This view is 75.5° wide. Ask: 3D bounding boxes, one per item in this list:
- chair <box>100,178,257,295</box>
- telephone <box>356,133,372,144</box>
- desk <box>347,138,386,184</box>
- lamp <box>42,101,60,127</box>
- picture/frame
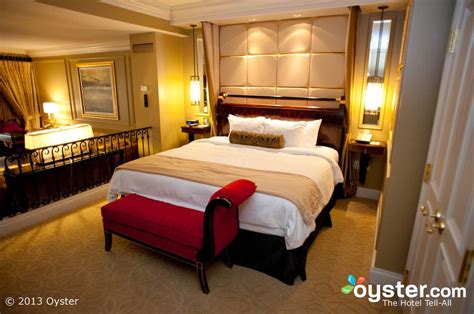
[{"bbox_3d":[-0.759,0.877,3.905,1.842,1.247,0.607,7,19,23],"label":"chair"},{"bbox_3d":[2.189,-0.336,5.286,0.189,0.061,0.231,7,29,36],"label":"telephone"},{"bbox_3d":[2.264,0.053,5.349,0.644,0.821,0.416,6,20,25],"label":"desk"},{"bbox_3d":[-5.390,-1.254,8.900,0.717,0.680,0.319,13,22,37],"label":"lamp"},{"bbox_3d":[-3.500,-1.729,7.775,1.521,1.548,0.112,6,14,25],"label":"picture/frame"}]
